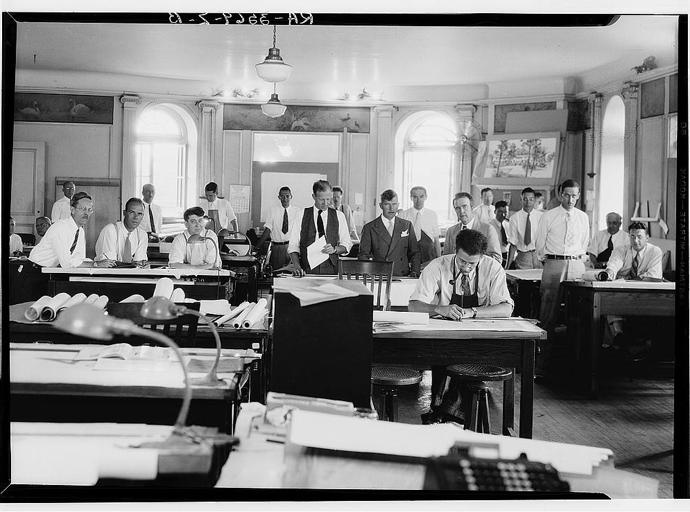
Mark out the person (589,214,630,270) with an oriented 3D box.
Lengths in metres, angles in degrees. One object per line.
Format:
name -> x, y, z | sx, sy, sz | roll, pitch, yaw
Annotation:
person -> 3.673, -0.183, 8.689 | 0.533, 0.836, 0.438 | 10, -3, 16

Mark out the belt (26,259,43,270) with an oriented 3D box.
belt -> -3.438, 0.108, 6.842 | 0.174, 0.127, 0.043 | 9, 7, 2

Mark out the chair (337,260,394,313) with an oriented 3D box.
chair -> 0.213, 0.267, 5.626 | 0.423, 0.758, 0.458 | 1, -7, 2

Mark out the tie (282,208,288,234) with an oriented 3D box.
tie -> -0.967, -0.551, 9.895 | 0.110, 0.375, 0.055 | 1, 2, -14

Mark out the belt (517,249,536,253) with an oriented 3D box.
belt -> 2.740, -0.077, 9.428 | 0.236, 0.057, 0.100 | 2, 2, 16

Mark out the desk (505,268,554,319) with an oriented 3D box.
desk -> 2.112, 0.438, 7.454 | 0.685, 0.374, 0.488 | 0, 0, -27

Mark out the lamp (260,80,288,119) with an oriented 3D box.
lamp -> -1.042, -2.311, 9.109 | 0.391, 0.613, 0.406 | -2, -9, 22

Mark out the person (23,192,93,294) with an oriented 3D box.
person -> -3.042, -0.261, 6.824 | 0.716, 0.866, 0.580 | 19, 8, 23

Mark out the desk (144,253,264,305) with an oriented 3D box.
desk -> -1.451, 0.291, 7.356 | 0.924, 0.488, 0.665 | 0, -2, -1

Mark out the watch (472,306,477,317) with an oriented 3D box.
watch -> 0.961, 0.418, 4.635 | 0.015, 0.051, 0.039 | 7, -19, 1

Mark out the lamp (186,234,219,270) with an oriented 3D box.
lamp -> -1.590, -0.079, 7.125 | 0.330, 0.345, 0.201 | 9, 7, 38

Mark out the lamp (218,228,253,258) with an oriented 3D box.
lamp -> -1.836, -0.193, 10.220 | 0.611, 0.232, 0.461 | 3, 13, -16

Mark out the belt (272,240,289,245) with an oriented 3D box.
belt -> -1.055, -0.218, 9.905 | 0.368, 0.086, 0.110 | 2, 2, 35

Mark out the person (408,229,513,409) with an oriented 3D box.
person -> 0.895, 0.569, 5.011 | 0.779, 1.511, 0.802 | -4, 12, -27

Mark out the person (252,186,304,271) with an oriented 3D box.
person -> -0.933, -0.162, 10.068 | 0.893, 1.907, 0.532 | 1, 18, -2

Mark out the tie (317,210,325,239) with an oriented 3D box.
tie -> -0.309, -0.402, 7.734 | 0.089, 0.320, 0.059 | 0, 2, -37

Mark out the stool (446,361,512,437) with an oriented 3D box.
stool -> 0.904, 1.016, 4.189 | 0.285, 0.391, 0.286 | 8, -16, -27

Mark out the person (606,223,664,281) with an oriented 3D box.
person -> 3.051, -0.031, 6.504 | 0.496, 0.910, 0.794 | 0, -1, 23

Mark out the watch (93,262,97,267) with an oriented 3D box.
watch -> -2.659, 0.079, 6.584 | 0.058, 0.063, 0.014 | 1, 1, 25

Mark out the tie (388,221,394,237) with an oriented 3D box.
tie -> 0.556, -0.336, 7.664 | 0.068, 0.158, 0.023 | 1, 2, 4

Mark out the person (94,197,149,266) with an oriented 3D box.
person -> -2.511, -0.234, 7.083 | 0.553, 0.853, 0.689 | 10, -3, -30

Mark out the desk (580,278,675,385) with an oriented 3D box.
desk -> 2.703, 0.749, 6.338 | 0.903, 1.024, 0.746 | 1, 2, -14

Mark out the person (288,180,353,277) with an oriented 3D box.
person -> -0.290, -0.342, 7.660 | 0.864, 1.127, 0.678 | 0, 2, -31

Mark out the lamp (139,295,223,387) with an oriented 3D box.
lamp -> -0.744, 0.390, 2.910 | 0.377, 0.445, 0.196 | 9, 27, 2
